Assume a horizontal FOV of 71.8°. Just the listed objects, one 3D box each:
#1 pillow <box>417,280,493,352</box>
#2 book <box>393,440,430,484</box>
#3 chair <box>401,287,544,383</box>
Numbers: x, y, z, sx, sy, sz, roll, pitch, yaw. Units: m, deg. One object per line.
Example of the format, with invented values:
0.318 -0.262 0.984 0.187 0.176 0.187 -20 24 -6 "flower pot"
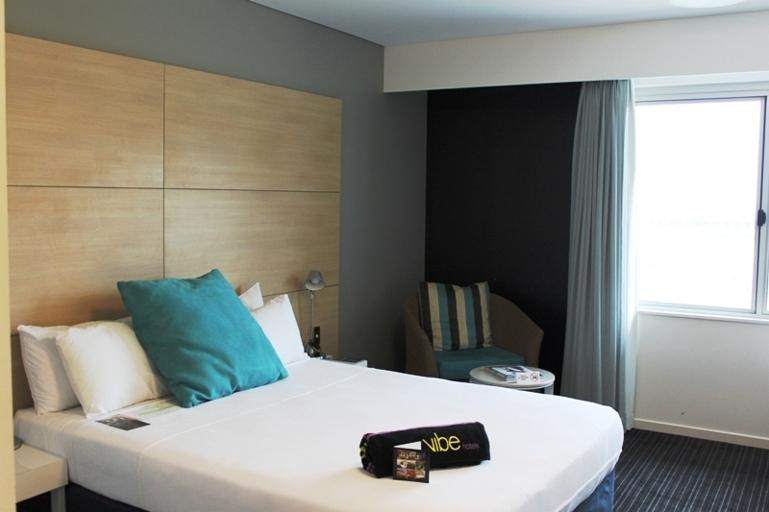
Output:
0.683 0.573 5.112 0.729 0.606 0.348 -1 8 -19 "pillow"
0.112 0.901 2.308 0.154 0.152 0.058 1 -14 -15 "book"
0.935 0.857 4.927 0.832 0.786 0.676 -4 6 -8 "chair"
